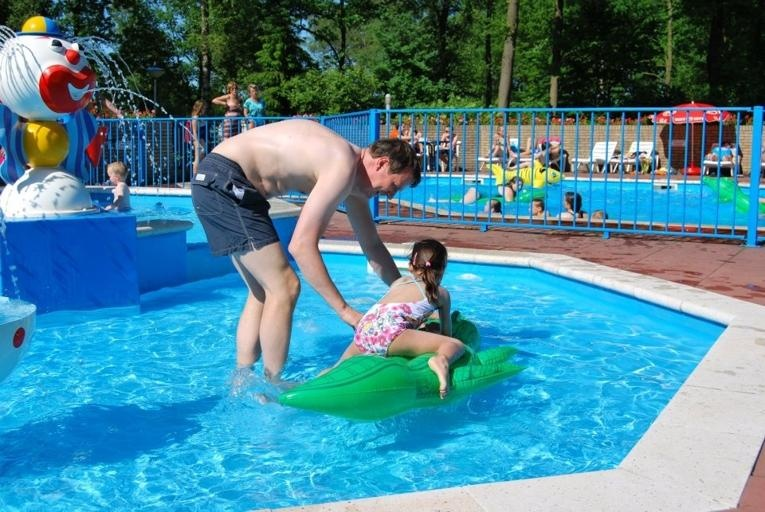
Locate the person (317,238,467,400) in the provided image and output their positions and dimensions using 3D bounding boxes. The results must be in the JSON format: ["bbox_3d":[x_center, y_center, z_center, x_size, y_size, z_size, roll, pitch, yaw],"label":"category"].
[{"bbox_3d":[0.194,0.414,4.245,0.700,0.492,1.111,8,38,22],"label":"person"}]

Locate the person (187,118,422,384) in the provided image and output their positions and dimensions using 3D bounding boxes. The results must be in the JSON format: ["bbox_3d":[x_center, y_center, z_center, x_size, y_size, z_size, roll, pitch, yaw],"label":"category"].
[{"bbox_3d":[-0.516,-0.034,4.175,1.360,1.702,0.683,-3,9,-17],"label":"person"}]
